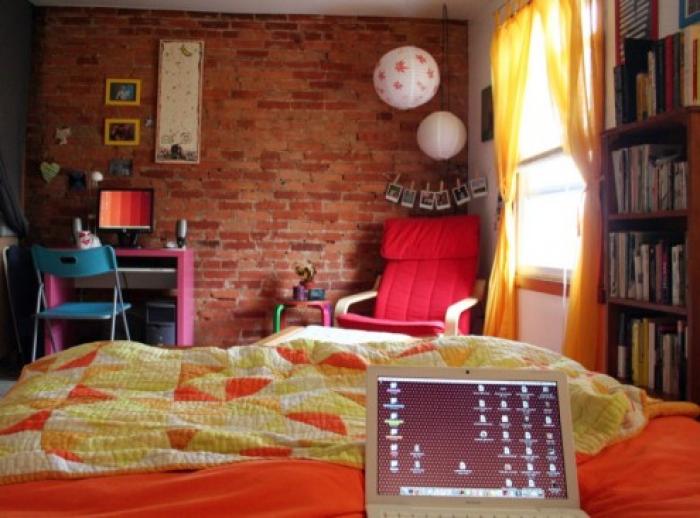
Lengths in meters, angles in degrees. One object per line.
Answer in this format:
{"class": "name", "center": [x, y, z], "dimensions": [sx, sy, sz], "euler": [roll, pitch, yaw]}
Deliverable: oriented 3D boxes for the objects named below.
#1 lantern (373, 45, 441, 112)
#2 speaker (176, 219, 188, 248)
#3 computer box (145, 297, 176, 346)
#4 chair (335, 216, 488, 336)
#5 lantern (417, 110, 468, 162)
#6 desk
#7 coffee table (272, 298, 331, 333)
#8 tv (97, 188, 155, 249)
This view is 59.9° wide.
{"class": "lantern", "center": [0.363, -1.147, 3.852], "dimensions": [0.353, 0.368, 0.412], "euler": [0, 3, -1]}
{"class": "speaker", "center": [-1.214, -0.187, 4.315], "dimensions": [0.066, 0.194, 0.140], "euler": [3, 1, -21]}
{"class": "computer box", "center": [-1.336, 0.432, 4.247], "dimensions": [0.212, 0.364, 0.225], "euler": [6, 21, -6]}
{"class": "chair", "center": [0.333, 0.097, 3.977], "dimensions": [0.730, 1.035, 0.901], "euler": [1, 2, 25]}
{"class": "lantern", "center": [0.630, -0.860, 4.227], "dimensions": [0.314, 0.386, 0.326], "euler": [1, 0, -5]}
{"class": "desk", "center": [-1.549, 0.185, 4.297], "dimensions": [0.978, 0.979, 0.709], "euler": [0, -2, 1]}
{"class": "coffee table", "center": [-0.364, 0.343, 4.328], "dimensions": [0.305, 0.368, 0.298], "euler": [0, -1, -11]}
{"class": "tv", "center": [-1.634, -0.312, 4.384], "dimensions": [0.397, 0.433, 0.145], "euler": [0, -11, -1]}
